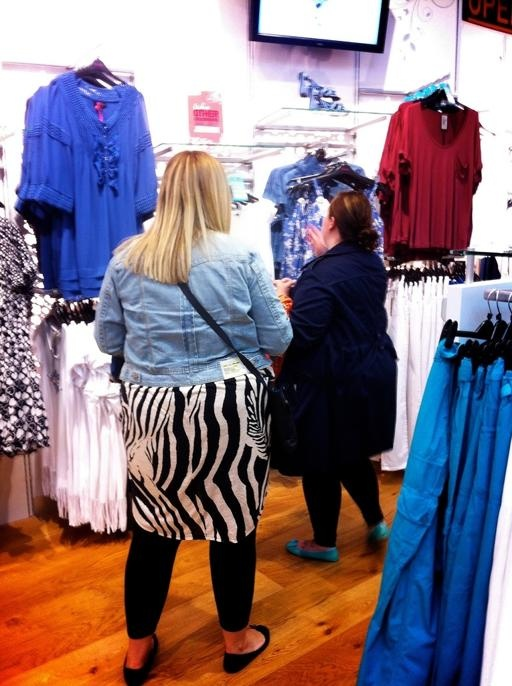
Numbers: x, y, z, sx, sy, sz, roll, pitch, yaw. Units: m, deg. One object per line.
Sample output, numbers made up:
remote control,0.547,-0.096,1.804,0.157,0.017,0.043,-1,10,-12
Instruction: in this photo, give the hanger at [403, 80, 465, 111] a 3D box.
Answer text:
hanger,0.999,-1.362,2.875,0.270,0.141,0.372,-2,21,-5

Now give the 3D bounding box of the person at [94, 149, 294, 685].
person,-0.161,0.251,1.269,0.499,1.410,0.356,-1,4,5

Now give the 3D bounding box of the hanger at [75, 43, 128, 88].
hanger,-0.697,-1.174,2.221,0.213,0.107,0.221,-3,5,-19

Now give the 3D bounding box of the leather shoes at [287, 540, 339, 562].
leather shoes,0.240,0.853,2.117,0.200,0.087,0.080,7,9,32

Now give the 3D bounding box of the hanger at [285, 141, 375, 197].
hanger,0.397,-0.880,2.711,0.293,0.167,0.399,-15,11,-10

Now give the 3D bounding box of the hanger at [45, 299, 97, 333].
hanger,-0.854,-0.134,2.350,0.235,0.129,0.183,-11,-18,-18
